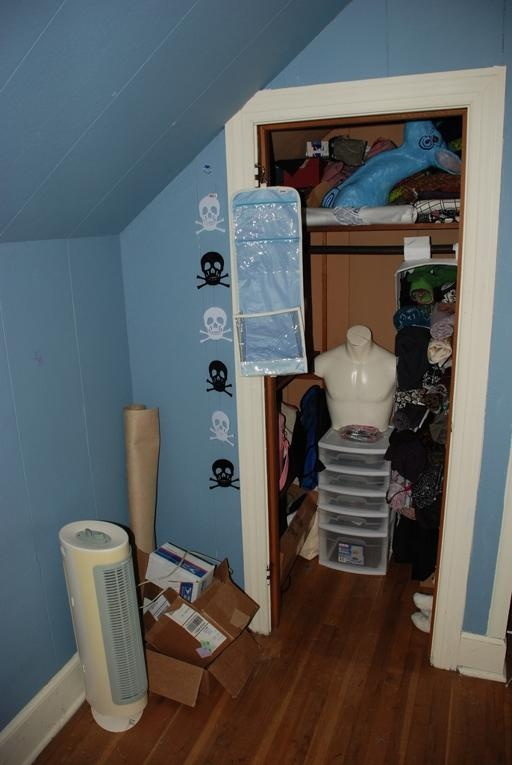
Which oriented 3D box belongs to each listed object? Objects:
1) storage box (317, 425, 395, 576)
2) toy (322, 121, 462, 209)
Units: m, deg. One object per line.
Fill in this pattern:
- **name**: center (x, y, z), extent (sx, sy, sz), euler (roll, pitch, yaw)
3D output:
- **storage box**: center (0.490, 0.613, 2.884), extent (0.352, 0.731, 0.197), euler (4, 14, 20)
- **toy**: center (0.551, -0.891, 2.414), extent (0.564, 0.341, 0.324), euler (1, 13, 10)
